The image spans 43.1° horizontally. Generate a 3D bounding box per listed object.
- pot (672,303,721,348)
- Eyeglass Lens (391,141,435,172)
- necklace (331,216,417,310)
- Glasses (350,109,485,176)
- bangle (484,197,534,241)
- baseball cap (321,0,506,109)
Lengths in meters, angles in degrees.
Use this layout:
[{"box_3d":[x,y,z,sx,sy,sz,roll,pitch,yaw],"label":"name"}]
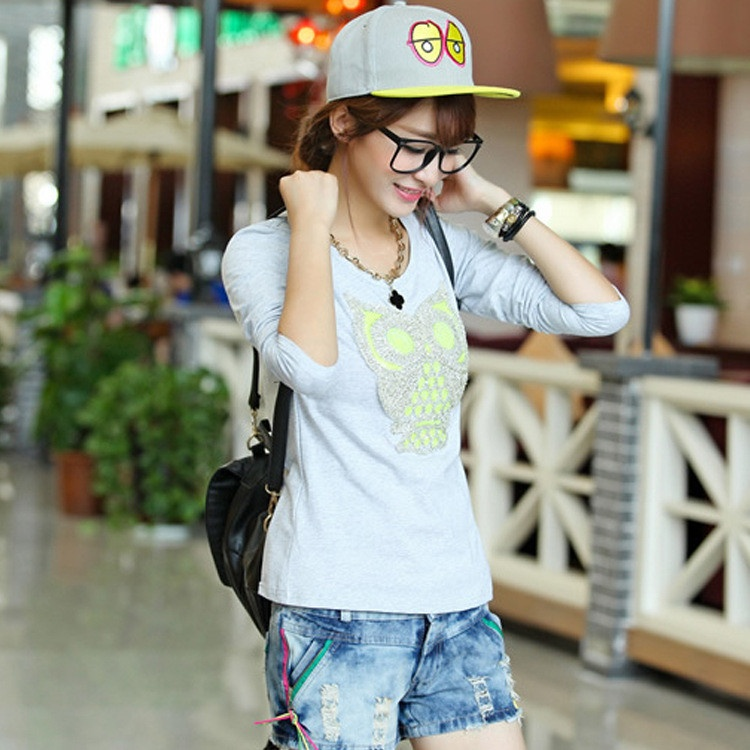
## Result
[{"box_3d":[2.235,-0.341,6.707,0.348,0.280,0.318,0,0,0],"label":"pot"},{"box_3d":[0.046,-0.269,1.162,0.042,0.015,0.042,7,17,-44],"label":"Eyeglass Lens"},{"box_3d":[-0.018,-0.132,1.207,0.111,0.017,0.174,-1,-29,40],"label":"necklace"},{"box_3d":[0.076,-0.280,1.137,0.103,0.035,0.119,-11,-13,6],"label":"Glasses"},{"box_3d":[0.196,-0.225,1.372,0.055,0.027,0.073,-44,6,-19],"label":"bangle"},{"box_3d":[0.035,-0.386,1.196,0.179,0.095,0.119,3,4,42],"label":"baseball cap"}]
